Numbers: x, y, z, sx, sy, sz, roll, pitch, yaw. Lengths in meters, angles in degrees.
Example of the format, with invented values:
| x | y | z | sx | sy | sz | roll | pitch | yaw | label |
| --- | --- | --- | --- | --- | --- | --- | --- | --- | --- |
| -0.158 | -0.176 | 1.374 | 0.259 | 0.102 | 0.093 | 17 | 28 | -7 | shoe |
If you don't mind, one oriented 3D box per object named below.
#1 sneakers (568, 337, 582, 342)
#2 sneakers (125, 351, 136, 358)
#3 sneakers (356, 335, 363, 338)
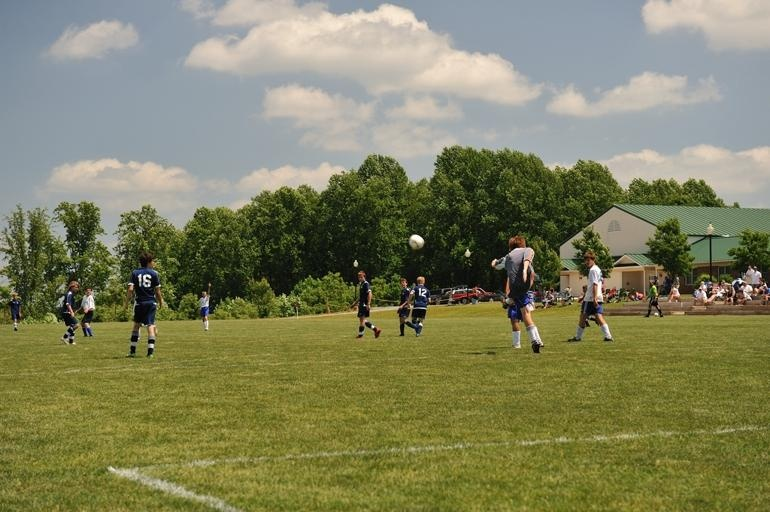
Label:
| x | y | z | sx | sy | sz | roll | pitch | yaw | label |
| --- | --- | --- | --- | --- | --- | --- | --- | --- | --- |
| 5.192 | 2.275 | 26.910 | 0.430 | 0.183 | 0.156 | 4 | 0 | 1 | sneakers |
| -6.588 | 2.564 | 25.678 | 0.117 | 0.130 | 0.335 | -1 | -5 | -31 | sneakers |
| -0.791 | 2.510 | 30.777 | 0.165 | 0.066 | 0.083 | 2 | 0 | -1 | sneakers |
